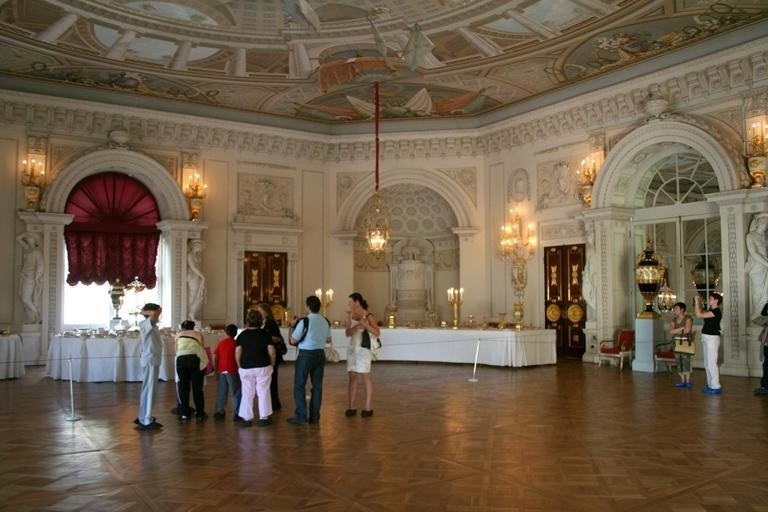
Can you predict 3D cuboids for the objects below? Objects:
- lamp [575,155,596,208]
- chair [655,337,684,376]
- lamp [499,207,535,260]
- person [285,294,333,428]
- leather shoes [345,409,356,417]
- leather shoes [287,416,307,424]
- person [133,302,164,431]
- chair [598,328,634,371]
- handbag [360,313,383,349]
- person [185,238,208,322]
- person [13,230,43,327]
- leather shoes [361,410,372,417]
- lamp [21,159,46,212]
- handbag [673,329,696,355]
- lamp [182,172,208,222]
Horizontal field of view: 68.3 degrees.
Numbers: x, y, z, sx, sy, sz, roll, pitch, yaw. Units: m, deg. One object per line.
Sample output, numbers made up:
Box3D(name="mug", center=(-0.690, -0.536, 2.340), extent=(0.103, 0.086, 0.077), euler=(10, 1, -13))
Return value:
Box3D(name="lamp", center=(5.356, -2.014, 14.988), extent=(0.342, 1.383, 0.540), euler=(2, -6, -12))
Box3D(name="chair", center=(6.394, 2.173, 12.869), extent=(0.627, 0.717, 0.556), euler=(-6, 0, 28))
Box3D(name="lamp", center=(3.843, -0.743, 16.309), extent=(1.114, 1.690, 0.909), euler=(-2, -6, 25))
Box3D(name="person", center=(-1.159, 1.590, 8.773), extent=(0.541, 1.931, 0.596), euler=(-1, -6, 17))
Box3D(name="leather shoes", center=(-0.519, 2.485, 9.022), extent=(0.181, 0.104, 0.204), euler=(1, -6, -4))
Box3D(name="leather shoes", center=(-1.324, 2.519, 8.694), extent=(0.332, 0.127, 0.110), euler=(2, 1, 30))
Box3D(name="person", center=(-3.557, 1.656, 8.651), extent=(0.375, 1.850, 0.537), euler=(3, -6, -23))
Box3D(name="chair", center=(5.900, 2.265, 14.142), extent=(0.778, 0.857, 0.747), euler=(1, -4, -37))
Box3D(name="handbag", center=(-0.173, 1.202, 9.051), extent=(0.206, 0.589, 0.398), euler=(-3, -7, 34))
Box3D(name="person", center=(-5.356, 0.668, 16.222), extent=(0.321, 2.369, 0.558), euler=(-3, -7, 35))
Box3D(name="person", center=(-9.081, 0.533, 14.551), extent=(0.589, 2.369, 0.259), euler=(1, -6, -3))
Box3D(name="leather shoes", center=(-0.238, 2.479, 8.958), extent=(0.235, 0.091, 0.143), euler=(4, -6, -28))
Box3D(name="lamp", center=(-9.086, -1.889, 14.693), extent=(0.522, 1.385, 0.364), euler=(4, -6, -29))
Box3D(name="handbag", center=(6.095, 1.706, 11.479), extent=(0.355, 0.534, 0.382), euler=(-2, -6, 23))
Box3D(name="lamp", center=(-5.419, -1.762, 16.401), extent=(0.526, 1.562, 0.474), euler=(5, -7, -40))
